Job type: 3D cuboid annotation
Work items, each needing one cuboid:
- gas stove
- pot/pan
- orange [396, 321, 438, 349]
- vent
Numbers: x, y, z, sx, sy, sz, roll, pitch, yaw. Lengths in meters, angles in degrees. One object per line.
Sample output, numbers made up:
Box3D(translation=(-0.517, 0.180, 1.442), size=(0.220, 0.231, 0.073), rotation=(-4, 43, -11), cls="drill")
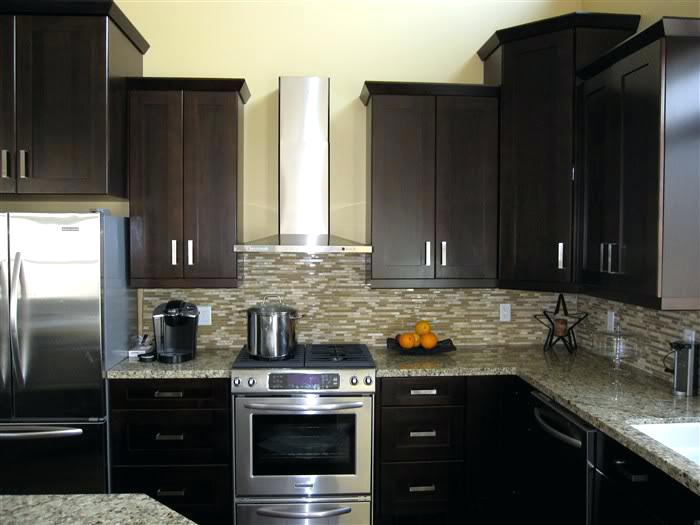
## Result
Box3D(translation=(-0.280, 0.685, 4.200), size=(0.833, 0.217, 0.567), rotation=(2, 10, 0), cls="gas stove")
Box3D(translation=(-0.491, 0.414, 4.210), size=(0.264, 0.362, 0.250), rotation=(3, 6, 1), cls="pot/pan")
Box3D(translation=(0.447, 0.490, 4.329), size=(0.201, 0.098, 0.202), rotation=(-1, 6, -19), cls="orange")
Box3D(translation=(-0.249, -0.601, 4.596), size=(1.106, 1.428, 1.035), rotation=(0, 1, -4), cls="vent")
